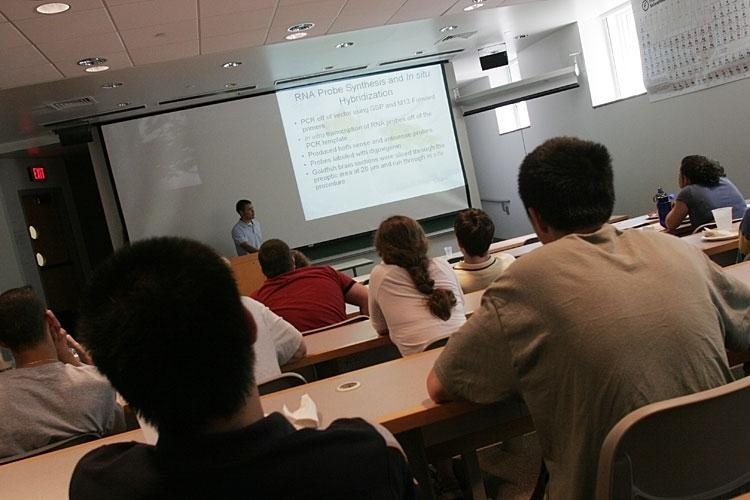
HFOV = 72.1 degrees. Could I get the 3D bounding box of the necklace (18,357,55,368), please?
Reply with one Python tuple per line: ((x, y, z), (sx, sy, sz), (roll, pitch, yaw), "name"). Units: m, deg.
((-1.430, 0.473, 2.155), (0.068, 0.019, 0.078), (-9, 6, 3), "necklace")
